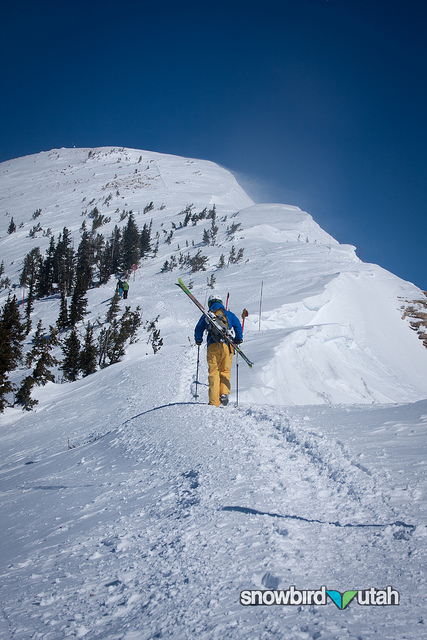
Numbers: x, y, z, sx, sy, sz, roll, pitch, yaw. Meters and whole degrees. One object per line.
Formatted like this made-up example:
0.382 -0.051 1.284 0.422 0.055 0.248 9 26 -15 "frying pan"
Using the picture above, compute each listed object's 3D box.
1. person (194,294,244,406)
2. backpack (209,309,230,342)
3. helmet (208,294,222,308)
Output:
0.103 0.498 11.097 0.710 1.709 1.027 0 1 0 "person"
0.083 0.110 10.988 0.285 0.496 0.444 -4 15 -24 "backpack"
0.016 -0.379 11.469 0.197 0.213 0.228 0 -8 2 "helmet"
